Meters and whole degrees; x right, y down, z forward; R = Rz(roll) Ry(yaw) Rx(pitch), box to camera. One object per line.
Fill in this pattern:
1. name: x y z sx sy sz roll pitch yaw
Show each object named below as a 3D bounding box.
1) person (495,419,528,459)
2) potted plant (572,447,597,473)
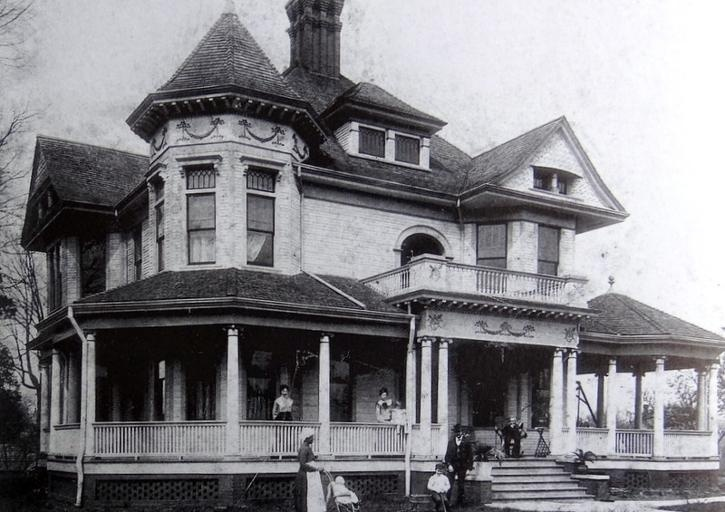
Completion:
1. person: 5.439 6.924 44.935 1.057 2.307 0.811 3 -31 -1
2. potted plant: 7.981 7.586 44.281 0.721 0.562 0.765 1 0 0
